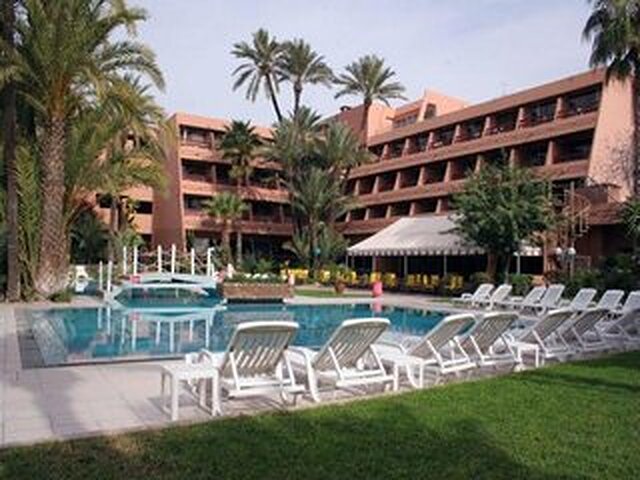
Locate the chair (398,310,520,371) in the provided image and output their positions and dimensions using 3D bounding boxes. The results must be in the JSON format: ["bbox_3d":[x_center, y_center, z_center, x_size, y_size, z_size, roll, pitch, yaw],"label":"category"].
[{"bbox_3d":[2.815,1.920,9.084,1.090,0.920,2.012,0,-2,-16],"label":"chair"}]

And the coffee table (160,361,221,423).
[{"bbox_3d":[-1.720,1.980,6.278,0.705,0.714,0.719,3,-7,-15],"label":"coffee table"}]

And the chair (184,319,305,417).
[{"bbox_3d":[-0.886,1.664,6.533,0.906,0.880,1.732,2,-2,-23],"label":"chair"}]

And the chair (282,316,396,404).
[{"bbox_3d":[0.280,1.816,7.406,0.944,0.841,1.796,1,-2,-23],"label":"chair"}]
